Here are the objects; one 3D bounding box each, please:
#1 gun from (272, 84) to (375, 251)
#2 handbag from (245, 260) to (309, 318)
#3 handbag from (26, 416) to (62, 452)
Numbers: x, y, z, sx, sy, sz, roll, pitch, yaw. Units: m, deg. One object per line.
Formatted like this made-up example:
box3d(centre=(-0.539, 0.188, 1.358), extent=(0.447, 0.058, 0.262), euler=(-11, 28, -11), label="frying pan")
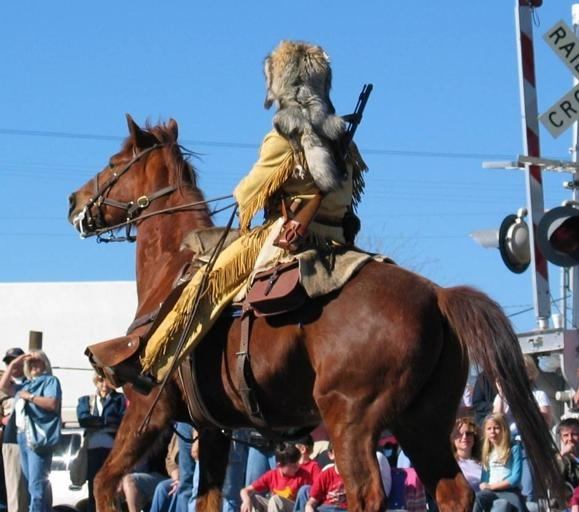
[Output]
box3d(centre=(0.360, -0.650, 11.843), extent=(0.662, 1.423, 0.773), euler=(0, 6, 24), label="gun")
box3d(centre=(-0.105, 0.220, 11.741), extent=(0.452, 0.444, 0.200), euler=(-15, -45, 30), label="handbag")
box3d(centre=(-2.583, 1.829, 15.405), extent=(0.290, 0.386, 0.206), euler=(5, -25, -23), label="handbag")
